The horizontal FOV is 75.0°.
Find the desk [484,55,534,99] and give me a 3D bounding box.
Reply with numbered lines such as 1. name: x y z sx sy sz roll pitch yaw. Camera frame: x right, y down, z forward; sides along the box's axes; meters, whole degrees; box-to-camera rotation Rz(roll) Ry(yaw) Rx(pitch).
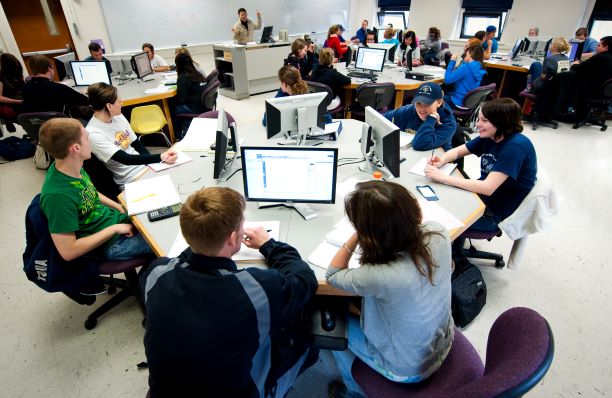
1. desk: 3.775 -2.396 7.487 0.711 0.700 0.735 17 48 19

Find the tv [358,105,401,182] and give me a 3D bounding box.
1. tv: 0.713 -0.509 3.877 0.285 0.543 0.767 -11 44 -11

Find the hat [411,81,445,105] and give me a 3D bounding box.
1. hat: 1.255 -1.094 4.133 0.289 0.158 0.199 -26 33 -36

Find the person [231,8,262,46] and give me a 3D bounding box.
1. person: -1.247 -3.620 8.373 0.480 0.620 1.010 -1 30 0

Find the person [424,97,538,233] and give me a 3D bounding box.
1. person: 1.688 -0.328 3.741 0.880 1.128 0.597 14 32 24

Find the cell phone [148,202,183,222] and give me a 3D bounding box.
1. cell phone: -1.227 0.126 3.525 0.290 0.061 0.149 -14 50 -17

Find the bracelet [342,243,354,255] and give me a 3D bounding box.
1. bracelet: 0.317 0.372 3.012 0.078 0.030 0.068 46 12 5

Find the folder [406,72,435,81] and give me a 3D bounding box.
1. folder: 1.799 -1.929 6.332 0.222 0.052 0.212 -22 34 -38

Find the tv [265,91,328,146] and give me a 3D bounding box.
1. tv: -0.090 -0.812 4.174 0.580 0.527 0.228 -8 47 -12

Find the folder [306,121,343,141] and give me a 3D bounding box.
1. folder: 0.268 -0.752 4.494 0.267 0.073 0.277 7 33 26

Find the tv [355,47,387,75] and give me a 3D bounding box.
1. tv: 1.071 -2.285 6.605 0.537 0.392 0.129 19 21 34

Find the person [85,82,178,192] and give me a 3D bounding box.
1. person: -1.753 -0.556 4.366 1.048 1.289 0.728 -1 29 -11

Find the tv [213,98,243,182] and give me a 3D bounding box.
1. tv: -0.777 -0.515 3.956 0.214 0.486 0.663 -1 19 -8

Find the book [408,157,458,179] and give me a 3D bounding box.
1. book: 1.239 -0.298 3.897 0.246 0.031 0.283 11 37 26

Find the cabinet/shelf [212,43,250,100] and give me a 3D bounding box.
1. cabinet/shelf: -1.449 -2.491 7.830 0.413 1.298 1.276 -12 33 -18

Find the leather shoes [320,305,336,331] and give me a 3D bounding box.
1. leather shoes: 0.158 0.902 3.058 0.098 0.230 0.111 -1 -15 2

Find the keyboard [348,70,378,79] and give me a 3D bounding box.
1. keyboard: 0.926 -2.025 6.573 0.379 0.054 0.237 14 33 28

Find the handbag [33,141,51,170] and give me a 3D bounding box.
1. handbag: -3.758 -0.636 5.704 0.223 0.406 0.303 1 22 -29
